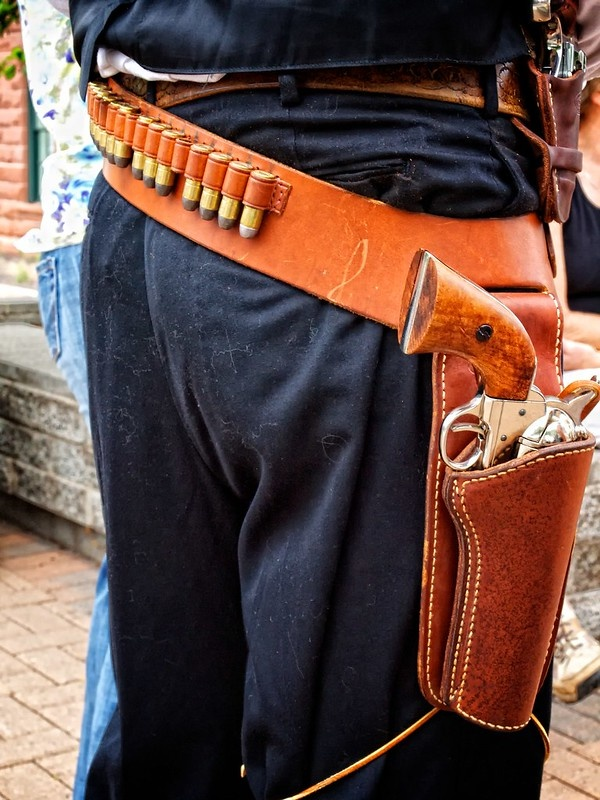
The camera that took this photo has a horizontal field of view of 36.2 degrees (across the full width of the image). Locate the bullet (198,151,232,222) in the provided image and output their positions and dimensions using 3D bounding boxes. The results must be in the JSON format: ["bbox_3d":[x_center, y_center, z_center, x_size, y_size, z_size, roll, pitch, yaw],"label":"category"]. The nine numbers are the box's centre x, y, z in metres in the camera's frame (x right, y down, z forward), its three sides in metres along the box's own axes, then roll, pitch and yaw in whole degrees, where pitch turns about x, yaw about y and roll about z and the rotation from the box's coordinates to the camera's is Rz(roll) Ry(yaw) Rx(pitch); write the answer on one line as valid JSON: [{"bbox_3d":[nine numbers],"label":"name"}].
[{"bbox_3d":[-0.092,-0.225,0.984,0.038,0.066,0.037,12,27,-6],"label":"bullet"}]

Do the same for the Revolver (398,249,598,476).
[{"bbox_3d":[0.206,-0.035,0.907,0.239,0.211,0.059,-2,13,-20],"label":"Revolver"}]

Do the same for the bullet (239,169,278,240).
[{"bbox_3d":[-0.047,-0.196,0.944,0.028,0.063,0.030,32,24,34],"label":"bullet"}]

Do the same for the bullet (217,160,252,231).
[{"bbox_3d":[-0.068,-0.211,0.961,0.028,0.064,0.027,27,31,18],"label":"bullet"}]

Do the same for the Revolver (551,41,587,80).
[{"bbox_3d":[0.299,-0.373,1.025,0.039,0.049,0.024,0,3,-10],"label":"Revolver"}]
